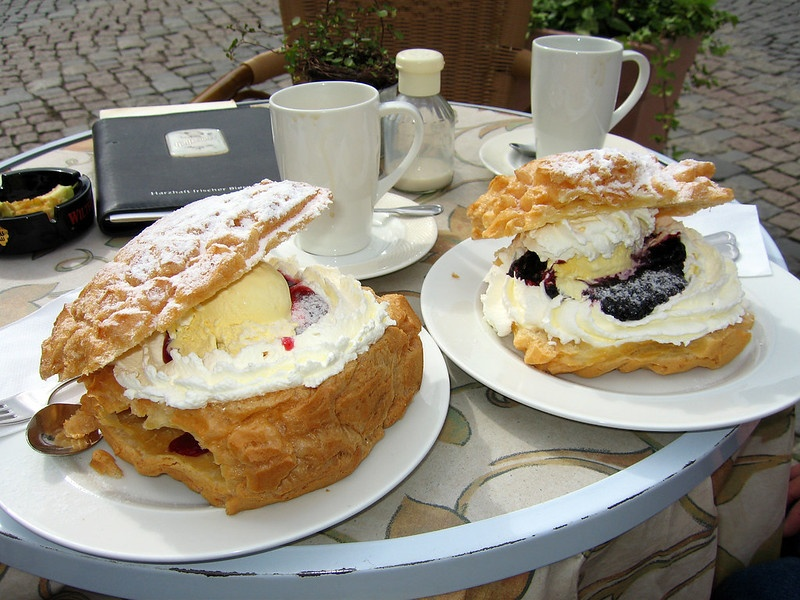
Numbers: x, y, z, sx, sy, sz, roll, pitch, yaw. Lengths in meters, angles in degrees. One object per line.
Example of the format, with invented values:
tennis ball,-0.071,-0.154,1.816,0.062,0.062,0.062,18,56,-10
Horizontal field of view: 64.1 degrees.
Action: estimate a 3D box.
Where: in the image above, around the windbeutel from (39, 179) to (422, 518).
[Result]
windbeutel,-0.261,0.035,1.105,0.569,0.297,0.501,21,47,18
